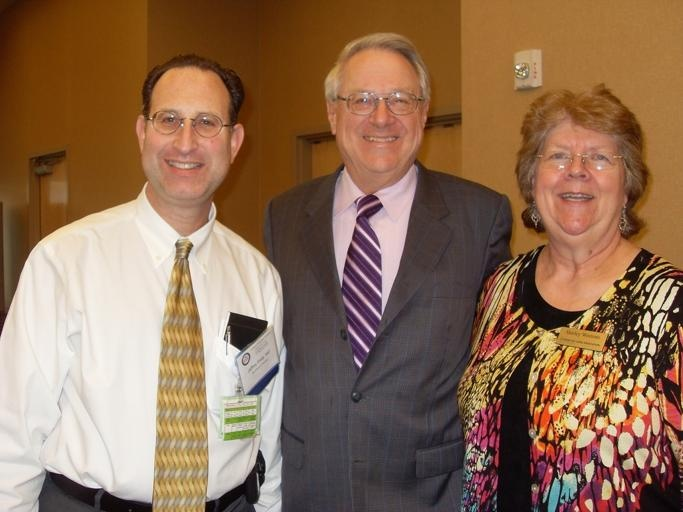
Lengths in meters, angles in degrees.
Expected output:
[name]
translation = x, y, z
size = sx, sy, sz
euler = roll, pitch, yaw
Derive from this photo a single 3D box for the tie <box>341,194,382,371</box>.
[tie]
translation = 0.088, 0.093, 2.815
size = 0.165, 0.687, 0.214
euler = -2, 3, 3
